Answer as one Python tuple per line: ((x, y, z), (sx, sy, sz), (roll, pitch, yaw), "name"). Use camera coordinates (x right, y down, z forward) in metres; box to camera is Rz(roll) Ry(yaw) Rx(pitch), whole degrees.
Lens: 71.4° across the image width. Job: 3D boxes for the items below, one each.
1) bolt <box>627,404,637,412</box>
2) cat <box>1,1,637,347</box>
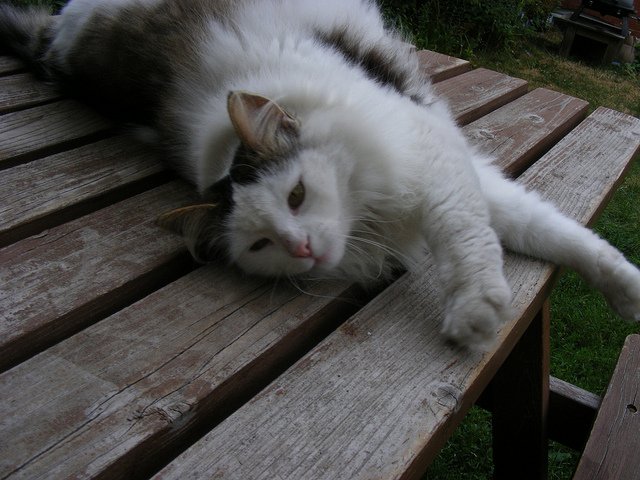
((1.150, 0.625, 1.648), (0.019, 0.005, 0.019), (7, 22, 3), "bolt")
((-0.149, -0.426, 1.624), (1.246, 0.631, 1.897), (-30, 51, -31), "cat")
